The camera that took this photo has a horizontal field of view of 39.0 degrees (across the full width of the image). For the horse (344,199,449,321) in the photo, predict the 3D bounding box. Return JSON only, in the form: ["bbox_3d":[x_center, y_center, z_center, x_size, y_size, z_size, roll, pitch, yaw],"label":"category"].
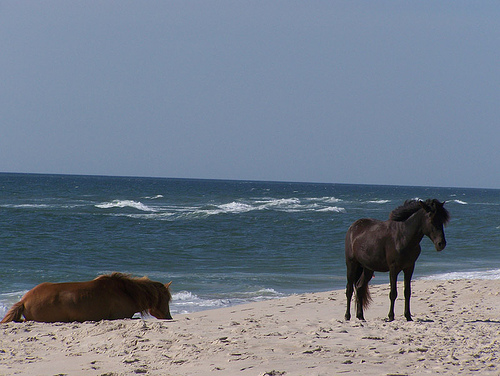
[{"bbox_3d":[2.959,1.516,14.751,0.916,2.410,3.064,4,-7,-29],"label":"horse"}]
